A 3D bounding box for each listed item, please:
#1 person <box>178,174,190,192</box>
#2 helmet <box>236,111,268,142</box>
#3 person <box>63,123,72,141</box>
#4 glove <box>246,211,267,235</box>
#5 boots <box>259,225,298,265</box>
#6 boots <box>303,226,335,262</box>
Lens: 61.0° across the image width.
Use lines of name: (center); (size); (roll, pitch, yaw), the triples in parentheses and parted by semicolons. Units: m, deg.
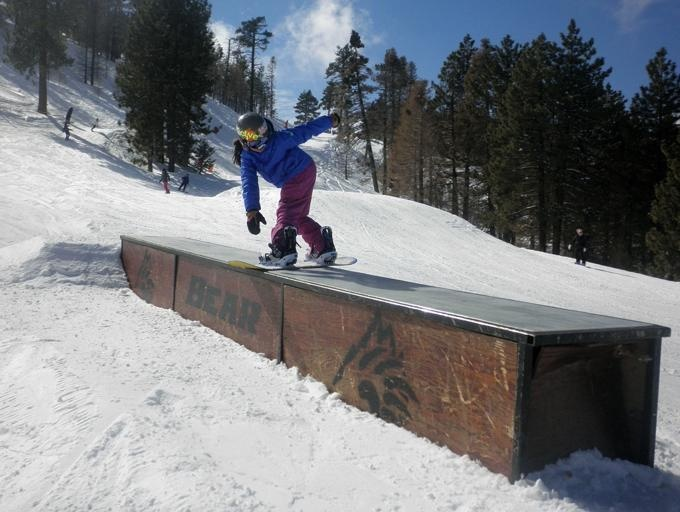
person: (-6.809, -3.184, 25.313); (0.430, 0.579, 1.156); (9, -24, -23)
helmet: (-0.967, -1.408, 6.321); (0.240, 0.350, 0.314); (0, -28, -4)
person: (-11.315, -5.172, 24.073); (0.186, 0.699, 1.038); (1, 12, -25)
glove: (-0.926, -0.372, 6.463); (0.250, 0.297, 0.116); (0, -1, 1)
boots: (-0.692, -0.066, 6.430); (0.191, 0.437, 0.559); (3, -6, -44)
boots: (-0.287, -0.138, 6.797); (0.181, 0.430, 0.552); (-9, 4, -40)
